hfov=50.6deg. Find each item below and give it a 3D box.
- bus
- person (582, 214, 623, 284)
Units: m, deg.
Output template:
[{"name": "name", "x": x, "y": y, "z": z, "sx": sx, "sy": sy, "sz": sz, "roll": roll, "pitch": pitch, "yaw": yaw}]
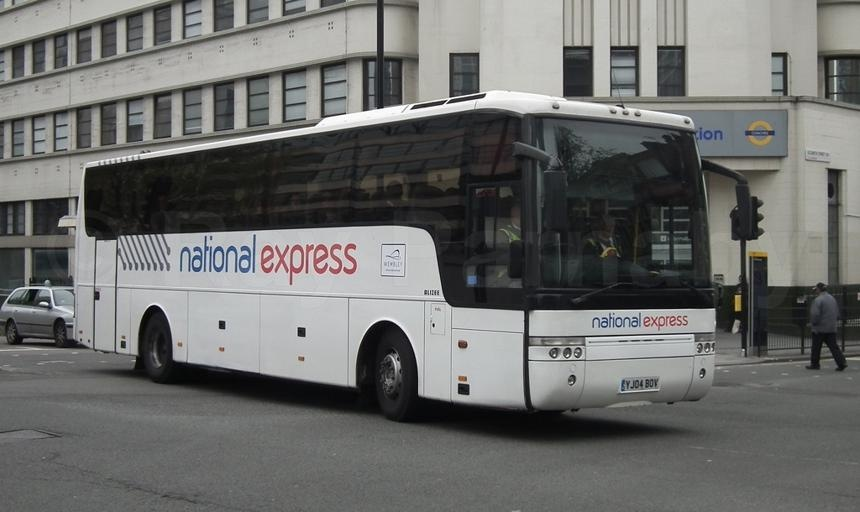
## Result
[{"name": "bus", "x": -2.582, "y": 0.017, "z": 21.219, "sx": 5.748, "sy": 5.527, "sz": 16.423, "roll": 3, "pitch": -4, "yaw": -41}, {"name": "person", "x": 3.062, "y": -0.111, "z": 16.250, "sx": 0.769, "sy": 1.240, "sz": 0.194, "roll": -2, "pitch": 6, "yaw": -25}]
